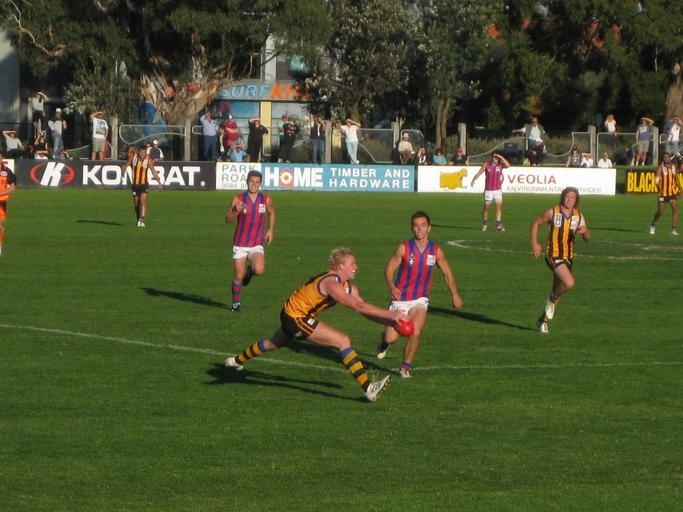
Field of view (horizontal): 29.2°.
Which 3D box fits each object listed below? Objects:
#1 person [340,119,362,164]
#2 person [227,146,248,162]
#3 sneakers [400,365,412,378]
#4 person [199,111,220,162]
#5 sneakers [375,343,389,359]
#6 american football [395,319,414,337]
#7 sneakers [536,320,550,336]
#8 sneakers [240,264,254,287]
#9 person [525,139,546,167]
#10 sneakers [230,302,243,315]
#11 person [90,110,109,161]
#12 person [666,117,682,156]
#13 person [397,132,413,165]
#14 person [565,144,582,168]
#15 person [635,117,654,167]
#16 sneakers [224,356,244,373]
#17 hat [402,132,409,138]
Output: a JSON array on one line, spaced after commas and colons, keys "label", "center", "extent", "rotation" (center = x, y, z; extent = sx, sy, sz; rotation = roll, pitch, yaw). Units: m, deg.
[{"label": "person", "center": [0.372, -4.684, 54.051], "extent": [0.713, 1.801, 0.870], "rotation": [4, 14, 10]}, {"label": "person", "center": [-4.244, -4.195, 53.772], "extent": [0.498, 0.638, 1.189], "rotation": [9, 17, 29]}, {"label": "sneakers", "center": [1.250, 2.199, 24.785], "extent": [0.269, 0.291, 0.183], "rotation": [4, -4, -27]}, {"label": "person", "center": [-5.319, -4.764, 52.799], "extent": [0.749, 1.873, 1.337], "rotation": [0, 15, -4]}, {"label": "sneakers", "center": [0.782, 1.865, 25.612], "extent": [0.138, 0.434, 0.181], "rotation": [20, 11, 4]}, {"label": "american football", "center": [1.123, 1.295, 23.421], "extent": [0.199, 0.340, 0.372], "rotation": [13, 19, 39]}, {"label": "sneakers", "center": [4.196, 1.486, 27.291], "extent": [0.271, 0.297, 0.188], "rotation": [3, 6, 30]}, {"label": "sneakers", "center": [-2.016, 0.473, 28.319], "extent": [0.190, 0.608, 0.256], "rotation": [17, 21, -8]}, {"label": "person", "center": [8.306, -4.451, 56.705], "extent": [0.857, 0.983, 0.609], "rotation": [9, 16, 27]}, {"label": "sneakers", "center": [-2.286, 1.141, 28.344], "extent": [0.199, 0.199, 0.159], "rotation": [-15, 19, -30]}, {"label": "person", "center": [-9.545, -4.657, 51.606], "extent": [0.620, 1.749, 1.139], "rotation": [-1, 15, -9]}, {"label": "person", "center": [13.711, -4.939, 54.294], "extent": [0.604, 1.240, 3.725], "rotation": [5, 16, 14]}, {"label": "person", "center": [2.675, -4.474, 54.779], "extent": [0.744, 1.275, 0.666], "rotation": [-2, 15, -12]}, {"label": "person", "center": [9.934, -4.266, 56.228], "extent": [0.614, 0.868, 0.691], "rotation": [2, 15, 5]}, {"label": "person", "center": [12.931, -4.744, 56.306], "extent": [0.430, 1.741, 1.098], "rotation": [13, 19, 40]}, {"label": "sneakers", "center": [-2.067, 2.043, 24.743], "extent": [0.377, 0.271, 0.214], "rotation": [29, 10, 30]}, {"label": "hat", "center": [2.633, -4.997, 54.738], "extent": [0.204, 0.096, 0.210], "rotation": [8, 14, 41]}]
